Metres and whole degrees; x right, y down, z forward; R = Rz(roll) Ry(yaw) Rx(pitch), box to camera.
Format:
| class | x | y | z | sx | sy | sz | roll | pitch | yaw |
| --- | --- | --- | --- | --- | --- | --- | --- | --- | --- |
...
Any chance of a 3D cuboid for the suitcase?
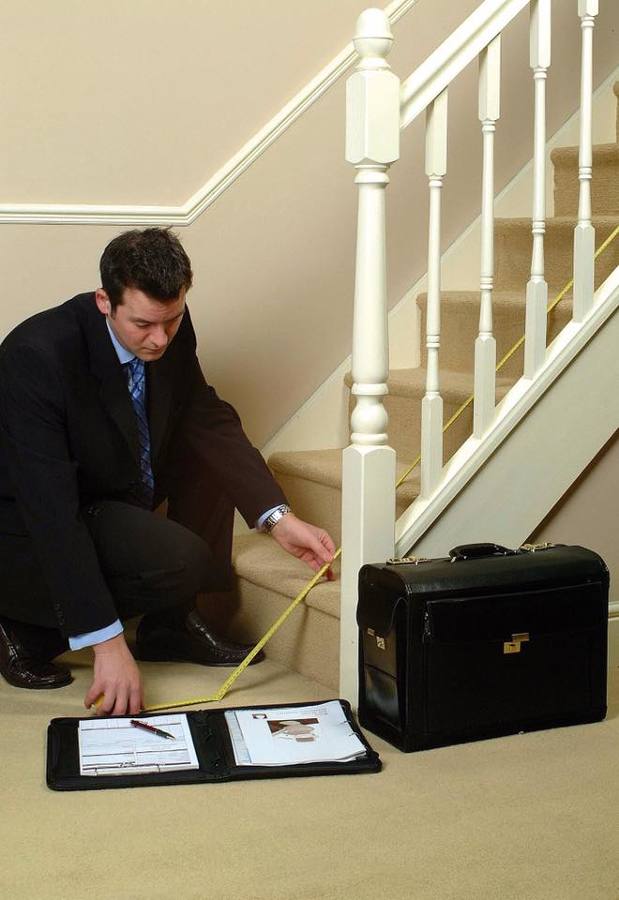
| class | x | y | z | sx | sy | sz | roll | pitch | yaw |
| --- | --- | --- | --- | --- | --- | --- | --- | --- | --- |
| suitcase | 0.320 | 0.344 | 1.497 | 0.456 | 0.337 | 0.214 | 1 | 3 | -22 |

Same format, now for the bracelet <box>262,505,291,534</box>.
| class | x | y | z | sx | sy | sz | roll | pitch | yaw |
| --- | --- | --- | --- | --- | --- | --- | --- | --- | --- |
| bracelet | -0.075 | 0.160 | 1.823 | 0.056 | 0.021 | 0.055 | -36 | -12 | -36 |

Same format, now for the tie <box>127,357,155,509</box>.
| class | x | y | z | sx | sy | sz | roll | pitch | yaw |
| --- | --- | --- | --- | --- | --- | --- | --- | --- | --- |
| tie | -0.354 | -0.041 | 1.728 | 0.043 | 0.248 | 0.058 | 3 | 12 | -12 |

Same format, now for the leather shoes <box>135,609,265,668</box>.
| class | x | y | z | sx | sy | sz | roll | pitch | yaw |
| --- | --- | --- | --- | --- | --- | --- | --- | --- | --- |
| leather shoes | -0.277 | 0.410 | 1.837 | 0.264 | 0.123 | 0.099 | 1 | 3 | 6 |
